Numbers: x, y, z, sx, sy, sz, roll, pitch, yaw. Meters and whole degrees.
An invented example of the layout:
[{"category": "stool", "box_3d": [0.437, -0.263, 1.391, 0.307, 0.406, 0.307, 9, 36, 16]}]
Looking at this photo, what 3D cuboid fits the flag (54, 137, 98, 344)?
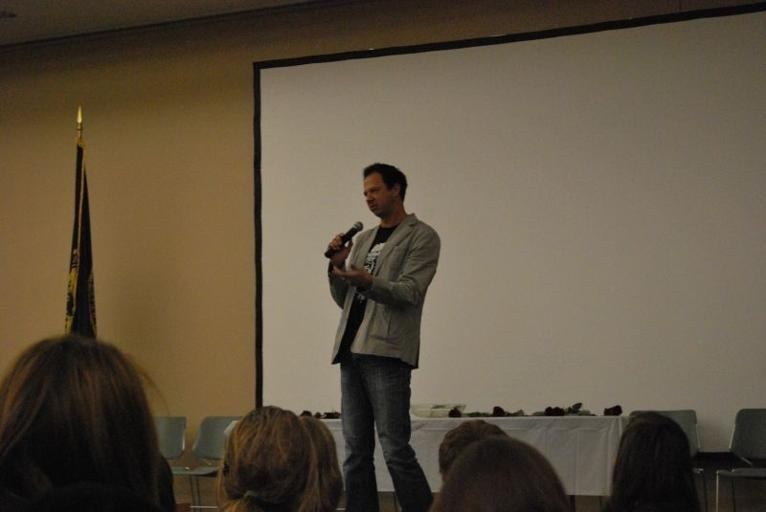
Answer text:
[{"category": "flag", "box_3d": [-2.677, -0.171, 7.713, 0.244, 1.722, 0.352, 4, -6, -20]}]
